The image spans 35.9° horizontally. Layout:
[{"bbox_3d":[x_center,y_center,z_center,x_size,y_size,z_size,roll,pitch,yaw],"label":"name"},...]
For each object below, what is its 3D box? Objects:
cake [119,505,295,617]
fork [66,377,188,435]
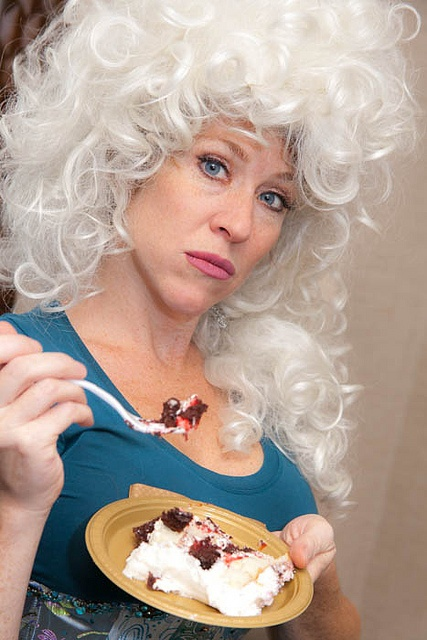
[{"bbox_3d":[-0.016,0.401,1.102,0.217,0.063,0.171,21,16,22],"label":"cake"},{"bbox_3d":[-0.175,0.168,1.273,0.049,0.284,0.039,-51,39,11],"label":"fork"}]
